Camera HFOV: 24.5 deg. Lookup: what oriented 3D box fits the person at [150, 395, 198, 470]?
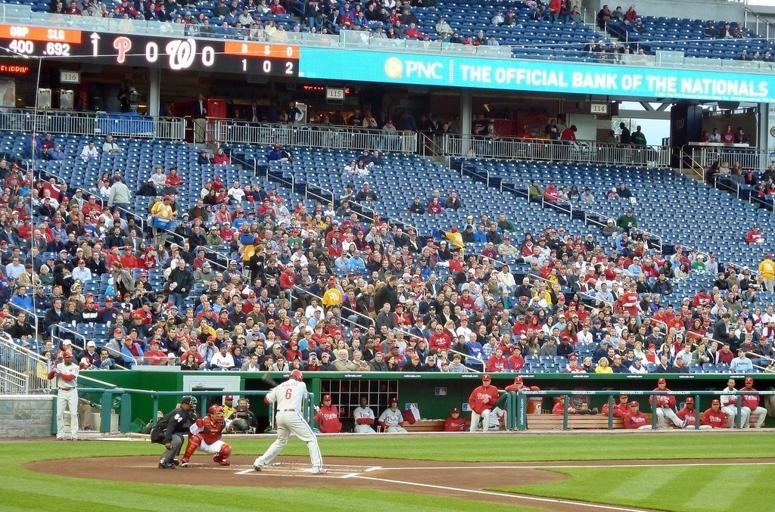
[{"bbox_3d":[-5.540,4.485,46.185,1.118,1.792,0.756,0,7,-15],"label":"person"}]
